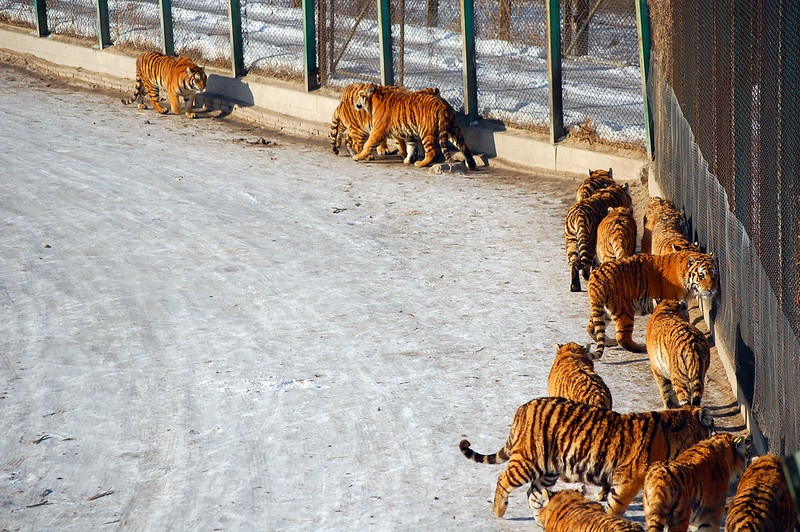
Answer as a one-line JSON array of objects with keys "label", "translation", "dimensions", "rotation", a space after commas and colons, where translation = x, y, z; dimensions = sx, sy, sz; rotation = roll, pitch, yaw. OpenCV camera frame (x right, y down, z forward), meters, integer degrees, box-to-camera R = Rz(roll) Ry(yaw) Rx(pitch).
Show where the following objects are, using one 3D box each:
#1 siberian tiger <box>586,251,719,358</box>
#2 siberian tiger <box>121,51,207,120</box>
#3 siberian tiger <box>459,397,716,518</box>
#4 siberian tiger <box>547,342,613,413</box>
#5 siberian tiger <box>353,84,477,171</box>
[{"label": "siberian tiger", "translation": [2.487, 0.376, 11.461], "dimensions": [1.597, 0.956, 0.490], "rotation": [-8, 5, -31]}, {"label": "siberian tiger", "translation": [-3.759, -2.967, 18.329], "dimensions": [1.659, 0.979, 0.468], "rotation": [13, 22, 29]}, {"label": "siberian tiger", "translation": [1.580, 1.640, 9.460], "dimensions": [2.228, 1.065, 0.524], "rotation": [4, 3, 16]}, {"label": "siberian tiger", "translation": [1.572, 1.009, 10.084], "dimensions": [0.279, 0.516, 1.001], "rotation": [-5, 32, -2]}, {"label": "siberian tiger", "translation": [0.197, -2.000, 16.023], "dimensions": [1.759, 1.074, 0.593], "rotation": [12, 19, 29]}]
